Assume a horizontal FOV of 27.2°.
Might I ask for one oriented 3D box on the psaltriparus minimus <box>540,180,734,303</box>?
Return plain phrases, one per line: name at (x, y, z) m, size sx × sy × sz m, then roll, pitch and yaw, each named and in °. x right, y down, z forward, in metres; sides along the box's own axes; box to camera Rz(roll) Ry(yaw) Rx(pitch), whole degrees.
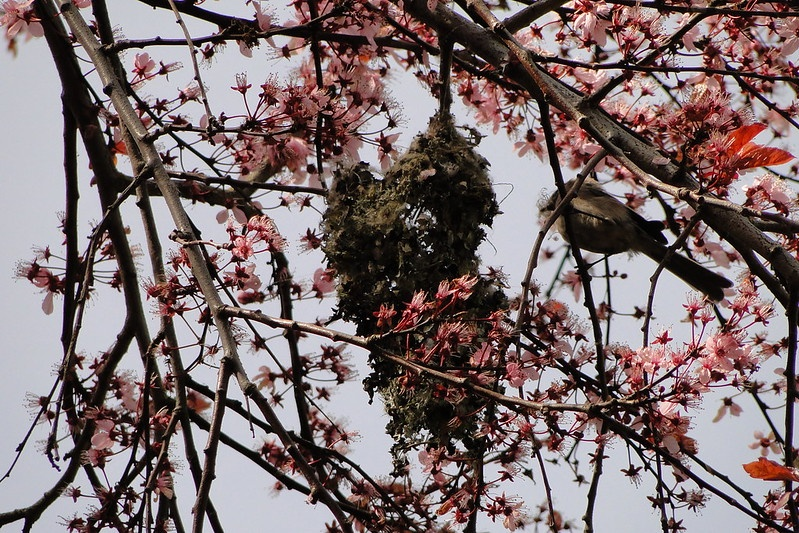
psaltriparus minimus at (1.464, -0.194, 10.197) m, size 1.344 × 0.605 × 0.394 m, roll 20°, pitch -59°, yaw -25°
